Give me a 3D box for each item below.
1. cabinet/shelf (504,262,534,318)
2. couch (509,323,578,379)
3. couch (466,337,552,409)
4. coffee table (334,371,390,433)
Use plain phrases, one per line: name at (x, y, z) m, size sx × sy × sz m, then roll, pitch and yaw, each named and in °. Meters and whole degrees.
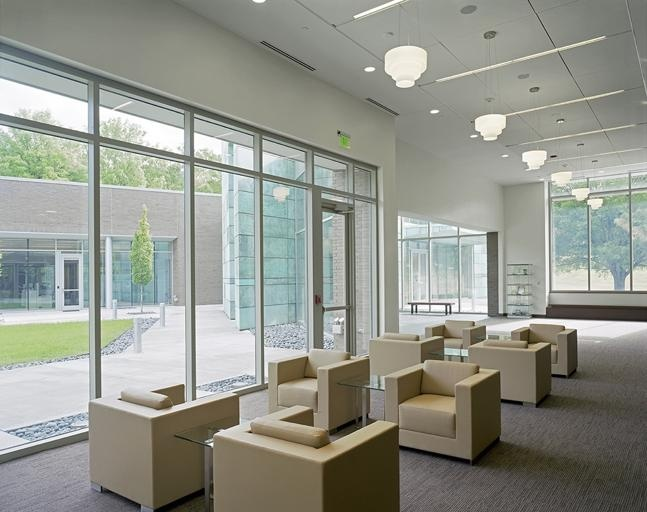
cabinet/shelf at (7.691, 1.306, 18.671) m, size 0.993 × 2.014 × 0.413 m, roll -1°, pitch -2°, yaw 17°
couch at (4.108, 1.538, 8.762) m, size 1.267 × 1.191 × 0.915 m, roll -3°, pitch -3°, yaw 44°
couch at (2.689, 1.592, 6.942) m, size 1.192 × 1.137 × 0.907 m, roll 0°, pitch 2°, yaw 34°
coffee table at (0.525, 1.719, 5.714) m, size 0.635 × 0.624 × 0.648 m, roll -1°, pitch -1°, yaw 38°
